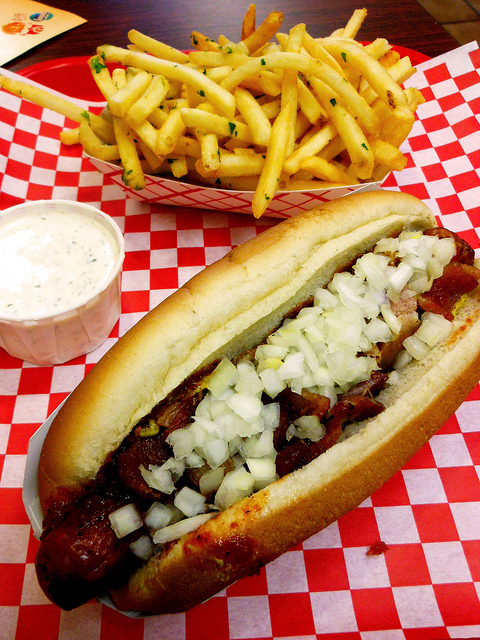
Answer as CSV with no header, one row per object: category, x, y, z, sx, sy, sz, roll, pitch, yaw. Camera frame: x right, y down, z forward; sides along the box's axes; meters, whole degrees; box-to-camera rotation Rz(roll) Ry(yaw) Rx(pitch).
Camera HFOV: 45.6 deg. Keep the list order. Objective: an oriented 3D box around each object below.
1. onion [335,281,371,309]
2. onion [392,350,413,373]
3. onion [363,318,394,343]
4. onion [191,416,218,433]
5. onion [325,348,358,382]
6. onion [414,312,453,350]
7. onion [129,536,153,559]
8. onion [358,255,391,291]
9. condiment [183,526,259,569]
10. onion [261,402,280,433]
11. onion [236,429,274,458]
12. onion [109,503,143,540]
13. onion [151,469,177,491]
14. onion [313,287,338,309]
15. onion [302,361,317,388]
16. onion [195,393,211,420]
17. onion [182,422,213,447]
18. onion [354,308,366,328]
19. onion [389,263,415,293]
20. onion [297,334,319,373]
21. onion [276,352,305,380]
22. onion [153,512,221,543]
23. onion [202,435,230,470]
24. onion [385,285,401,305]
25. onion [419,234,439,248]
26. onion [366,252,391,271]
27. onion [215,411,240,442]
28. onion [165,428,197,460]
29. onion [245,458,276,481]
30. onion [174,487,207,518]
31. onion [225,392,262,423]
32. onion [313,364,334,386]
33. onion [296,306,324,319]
onion,0.327,-0.068,1.709,0.087,0.022,0.081,23,36,-21
onion,0.529,0.132,1.867,0.075,0.018,0.047,-48,71,13
onion,0.409,0.032,1.690,0.067,0.019,0.071,-29,76,-7
onion,-0.093,0.284,1.563,0.061,0.021,0.033,31,50,21
onion,0.294,0.130,1.640,0.091,0.066,0.073,-10,53,-14
onion,0.619,0.028,1.868,0.122,0.035,0.113,36,85,-6
onion,-0.280,0.638,1.611,0.063,0.020,0.059,-27,97,-29
onion,0.407,-0.141,1.784,0.066,0.036,0.118,-38,73,-13
condiment,-0.051,0.604,1.515,0.190,0.067,0.069,10,51,3
onion,0.087,0.271,1.612,0.063,0.023,0.068,28,70,-25
onion,0.045,0.350,1.590,0.108,0.057,0.058,-13,54,-16
onion,-0.311,0.541,1.545,0.081,0.028,0.075,-25,57,-24
onion,-0.211,0.437,1.558,0.061,0.020,0.051,51,40,-1
onion,0.258,-0.066,1.737,0.062,0.018,0.056,1,44,-16
onion,0.192,0.151,1.637,0.059,0.020,0.062,16,74,-35
onion,-0.103,0.249,1.617,0.021,0.034,0.060,-20,41,22
onion,-0.110,0.309,1.558,0.064,0.022,0.063,-15,70,-25
onion,0.350,-0.006,1.679,0.014,0.040,0.049,-18,64,16
onion,0.507,-0.134,1.813,0.058,0.033,0.104,35,51,7
onion,0.186,0.093,1.668,0.036,0.036,0.121,-8,60,-22
onion,0.144,0.128,1.625,0.071,0.024,0.095,8,49,0
onion,-0.142,0.565,1.548,0.185,0.043,0.040,-13,69,-18
onion,-0.066,0.357,1.546,0.082,0.028,0.082,-4,86,-9
onion,0.475,-0.078,1.770,0.053,0.014,0.050,19,84,-11
onion,0.637,-0.273,1.929,0.058,0.015,0.052,-3,55,-8
onion,0.445,-0.195,1.829,0.061,0.018,0.056,7,48,7
onion,-0.029,0.293,1.567,0.067,0.033,0.074,-3,74,-15
onion,-0.157,0.333,1.565,0.073,0.055,0.070,-26,58,-24
onion,0.062,0.413,1.576,0.087,0.048,0.067,-4,51,-10
onion,-0.144,0.511,1.637,0.091,0.077,0.081,18,43,-23
onion,0.024,0.235,1.582,0.092,0.029,0.092,-30,59,-27
onion,0.231,0.160,1.649,0.056,0.042,0.064,-15,54,-17
onion,0.214,-0.024,1.718,0.056,0.013,0.035,-1,36,29
